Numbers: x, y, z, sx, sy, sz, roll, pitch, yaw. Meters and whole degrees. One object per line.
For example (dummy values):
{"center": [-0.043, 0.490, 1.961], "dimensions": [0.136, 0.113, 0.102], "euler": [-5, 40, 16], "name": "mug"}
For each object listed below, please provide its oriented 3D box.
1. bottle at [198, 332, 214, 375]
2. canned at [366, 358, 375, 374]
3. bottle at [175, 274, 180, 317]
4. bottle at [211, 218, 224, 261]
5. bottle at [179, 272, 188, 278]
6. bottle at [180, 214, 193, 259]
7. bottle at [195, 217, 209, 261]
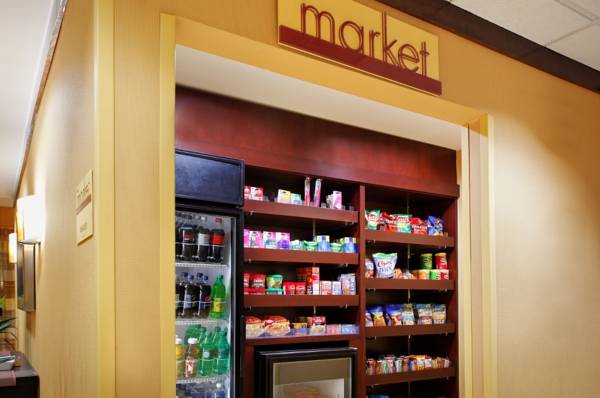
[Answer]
{"center": [-0.690, 1.142, 3.453], "dimensions": [0.106, 0.301, 0.059], "euler": [3, -16, -10], "name": "bottle"}
{"center": [0.650, 1.541, 4.301], "dimensions": [0.066, 0.124, 0.104], "euler": [-9, -18, 29], "name": "canned"}
{"center": [-0.914, 0.712, 3.493], "dimensions": [0.032, 0.316, 0.111], "euler": [4, -16, -16], "name": "bottle"}
{"center": [-0.640, 0.319, 3.592], "dimensions": [0.117, 0.343, 0.113], "euler": [5, 1, 0], "name": "bottle"}
{"center": [-0.890, 0.579, 3.591], "dimensions": [0.047, 0.041, 0.075], "euler": [5, -5, 22], "name": "bottle"}
{"center": [-0.836, 0.287, 3.485], "dimensions": [0.094, 0.340, 0.101], "euler": [0, -16, 0], "name": "bottle"}
{"center": [-0.742, 0.304, 3.548], "dimensions": [0.126, 0.342, 0.127], "euler": [4, -3, 0], "name": "bottle"}
